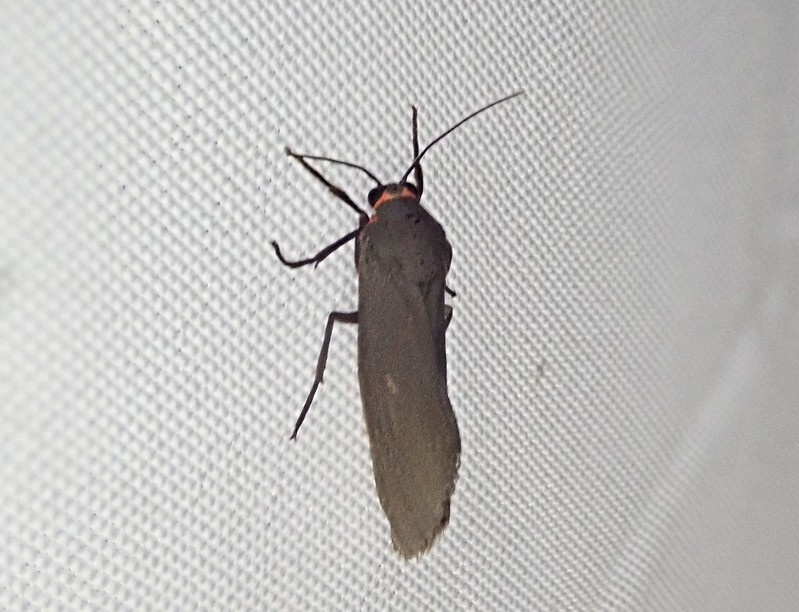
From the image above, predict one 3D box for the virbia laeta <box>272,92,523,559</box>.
[{"bbox_3d":[-0.002,0.053,1.506,0.357,0.134,0.612,-3,-90,-38],"label":"virbia laeta"}]
